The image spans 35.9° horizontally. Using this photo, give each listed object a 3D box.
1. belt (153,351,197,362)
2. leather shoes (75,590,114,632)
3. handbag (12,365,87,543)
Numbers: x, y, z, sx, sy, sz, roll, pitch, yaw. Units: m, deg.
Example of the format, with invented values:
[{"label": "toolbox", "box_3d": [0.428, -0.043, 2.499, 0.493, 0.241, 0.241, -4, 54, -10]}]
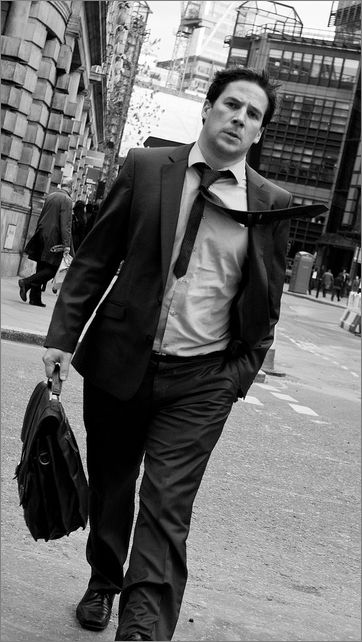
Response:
[{"label": "belt", "box_3d": [-0.020, 0.110, 1.585, 0.132, 0.032, 0.028, 12, 0, -24]}, {"label": "leather shoes", "box_3d": [-0.303, 0.983, 1.890, 0.065, 0.085, 0.204, 15, -7, -5]}, {"label": "handbag", "box_3d": [-0.382, 0.413, 1.719, 0.243, 0.515, 0.300, 10, 1, -14]}]
